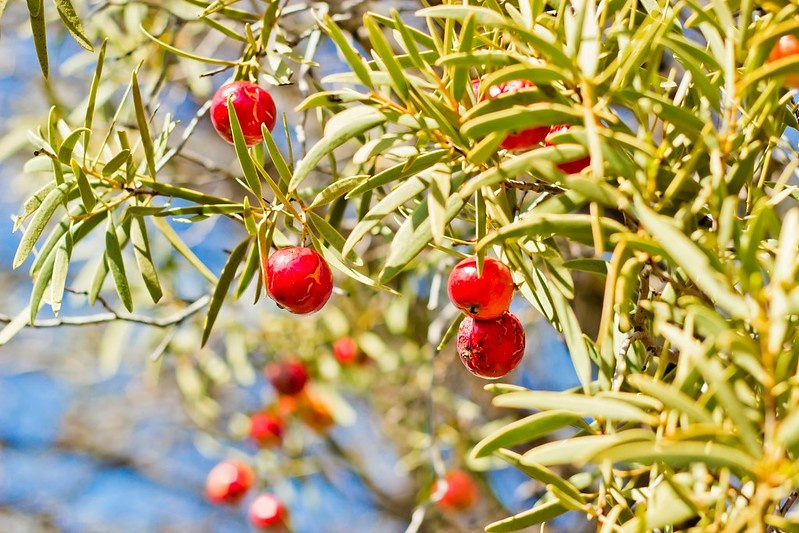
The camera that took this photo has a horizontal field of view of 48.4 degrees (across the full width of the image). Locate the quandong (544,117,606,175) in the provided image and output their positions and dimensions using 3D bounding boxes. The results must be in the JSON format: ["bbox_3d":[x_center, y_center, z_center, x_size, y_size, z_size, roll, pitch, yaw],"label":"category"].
[{"bbox_3d":[0.458,-0.311,2.349,0.127,0.161,0.098,-4,75,8],"label":"quandong"}]

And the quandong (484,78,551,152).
[{"bbox_3d":[0.319,-0.388,2.427,0.169,0.175,0.216,-8,91,7],"label":"quandong"}]

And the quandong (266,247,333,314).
[{"bbox_3d":[-0.287,0.043,2.519,0.176,0.172,0.214,4,70,-24],"label":"quandong"}]

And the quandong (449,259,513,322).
[{"bbox_3d":[0.239,0.039,2.539,0.159,0.217,0.167,26,103,9],"label":"quandong"}]
